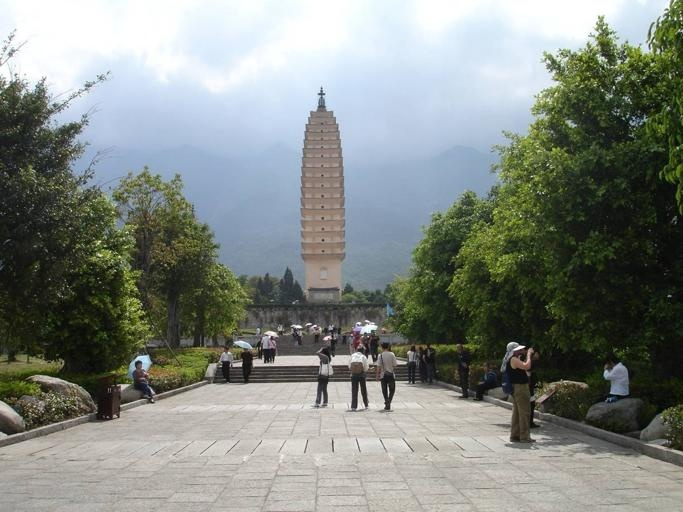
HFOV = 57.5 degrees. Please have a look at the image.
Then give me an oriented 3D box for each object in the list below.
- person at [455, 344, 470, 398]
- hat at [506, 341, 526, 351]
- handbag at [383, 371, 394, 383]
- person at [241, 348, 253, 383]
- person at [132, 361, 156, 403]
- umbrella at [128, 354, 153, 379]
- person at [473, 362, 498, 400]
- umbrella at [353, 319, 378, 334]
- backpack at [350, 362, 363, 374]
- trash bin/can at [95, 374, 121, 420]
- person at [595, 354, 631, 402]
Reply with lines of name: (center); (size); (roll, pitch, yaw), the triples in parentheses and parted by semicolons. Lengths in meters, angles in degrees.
person: (4.499, 4.171, 22.802); (0.429, 1.877, 1.580); (-2, -7, 10)
hat: (4.012, 2.101, 14.481); (0.498, 0.195, 0.571); (-3, -2, 13)
handbag: (1.427, 3.744, 19.345); (0.256, 0.192, 0.263); (10, -16, -28)
person: (-4.371, 5.114, 28.901); (0.392, 1.486, 1.020); (0, -7, -12)
person: (-6.716, 4.233, 21.202); (0.702, 1.430, 1.017); (1, -7, -19)
umbrella: (-7.036, 3.780, 21.771); (0.806, 0.614, 0.823); (-10, -12, -37)
person: (5.155, 4.411, 21.998); (0.782, 1.201, 1.427); (-3, -7, 15)
umbrella: (1.405, 4.643, 39.970); (1.793, 0.685, 1.926); (-3, -9, 11)
backpack: (0.460, 3.360, 18.973); (0.325, 0.355, 0.334); (3, 3, 5)
trash bin/can: (-6.488, 3.920, 17.369); (0.604, 1.216, 0.613); (2, -7, -23)
person: (7.047, 3.180, 16.163); (0.889, 1.691, 0.960); (-3, -5, 43)
